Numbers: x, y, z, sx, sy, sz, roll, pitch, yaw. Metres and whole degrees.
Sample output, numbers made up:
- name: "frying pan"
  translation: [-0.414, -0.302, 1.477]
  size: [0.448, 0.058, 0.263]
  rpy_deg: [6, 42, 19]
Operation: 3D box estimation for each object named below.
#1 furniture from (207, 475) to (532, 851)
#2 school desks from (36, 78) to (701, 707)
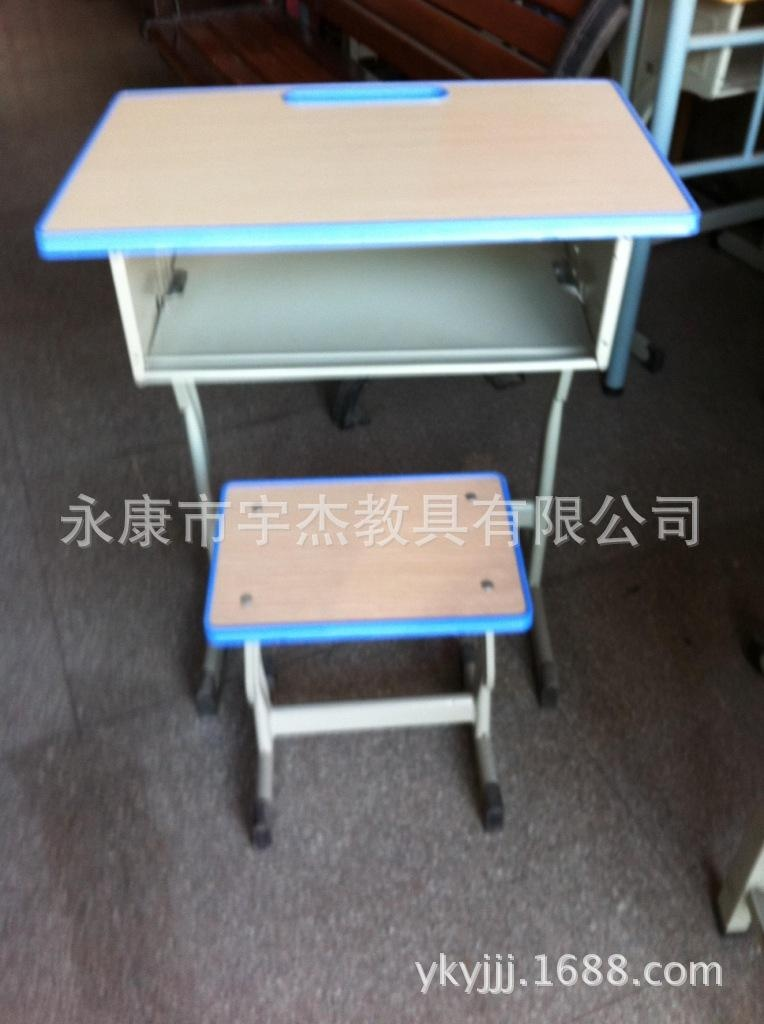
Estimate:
- name: "furniture"
  translation: [-0.009, 0.176, 1.165]
  size: [0.393, 0.451, 0.555]
  rpy_deg: [-2, 49, -2]
- name: "school desks"
  translation: [-0.015, -0.050, 1.191]
  size: [0.718, 1.007, 0.572]
  rpy_deg: [-2, 34, -2]
